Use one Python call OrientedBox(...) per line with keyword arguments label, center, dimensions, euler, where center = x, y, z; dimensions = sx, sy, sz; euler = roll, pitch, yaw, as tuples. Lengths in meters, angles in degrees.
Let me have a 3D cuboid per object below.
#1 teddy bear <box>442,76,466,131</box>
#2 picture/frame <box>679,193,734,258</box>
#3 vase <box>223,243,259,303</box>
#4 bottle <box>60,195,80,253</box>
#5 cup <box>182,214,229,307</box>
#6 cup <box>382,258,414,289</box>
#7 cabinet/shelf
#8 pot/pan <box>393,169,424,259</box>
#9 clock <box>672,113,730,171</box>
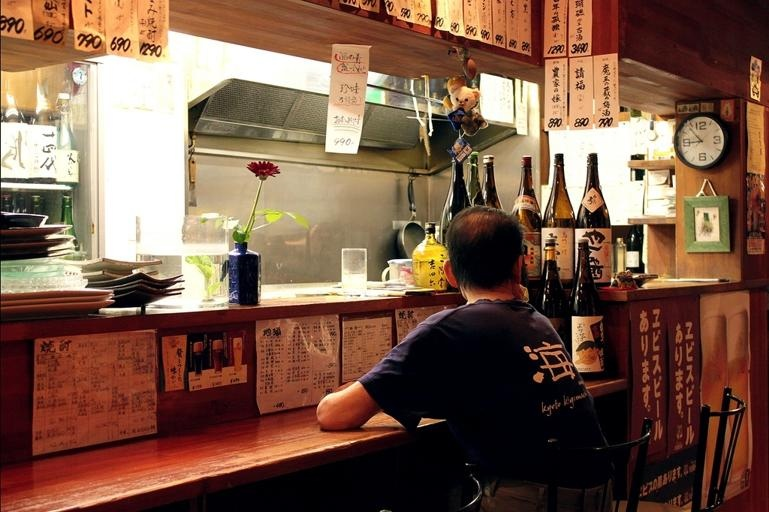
OrientedBox(label="teddy bear", center=(0.315, -0.679, 2.615), dimensions=(0.090, 0.256, 0.181), euler=(-1, 2, 6))
OrientedBox(label="picture/frame", center=(1.931, -0.182, 3.513), dimensions=(0.376, 0.502, 0.039), euler=(-2, -1, 39))
OrientedBox(label="vase", center=(-0.476, 0.059, 2.003), dimensions=(0.101, 0.212, 0.057), euler=(-1, 2, -12))
OrientedBox(label="bottle", center=(-1.892, -0.207, 3.590), dimensions=(0.087, 0.343, 0.261), euler=(-2, 2, -36))
OrientedBox(label="cup", center=(-0.614, 0.007, 2.039), dimensions=(0.155, 0.299, 0.123), euler=(-2, 2, -18))
OrientedBox(label="cup", center=(0.093, 0.076, 2.607), dimensions=(0.148, 0.145, 0.098), euler=(-4, 8, -36))
OrientedBox(label="cabinet/shelf", center=(1.807, -0.262, 3.990), dimensions=(0.278, 0.792, 0.653), euler=(0, 2, 24))
OrientedBox(label="pot/pan", center=(0.208, -0.353, 5.491), dimensions=(0.113, 0.695, 0.391), euler=(-4, -3, 29))
OrientedBox(label="clock", center=(1.890, -0.682, 3.497), dimensions=(0.340, 0.395, 0.070), euler=(-3, 0, 43))
